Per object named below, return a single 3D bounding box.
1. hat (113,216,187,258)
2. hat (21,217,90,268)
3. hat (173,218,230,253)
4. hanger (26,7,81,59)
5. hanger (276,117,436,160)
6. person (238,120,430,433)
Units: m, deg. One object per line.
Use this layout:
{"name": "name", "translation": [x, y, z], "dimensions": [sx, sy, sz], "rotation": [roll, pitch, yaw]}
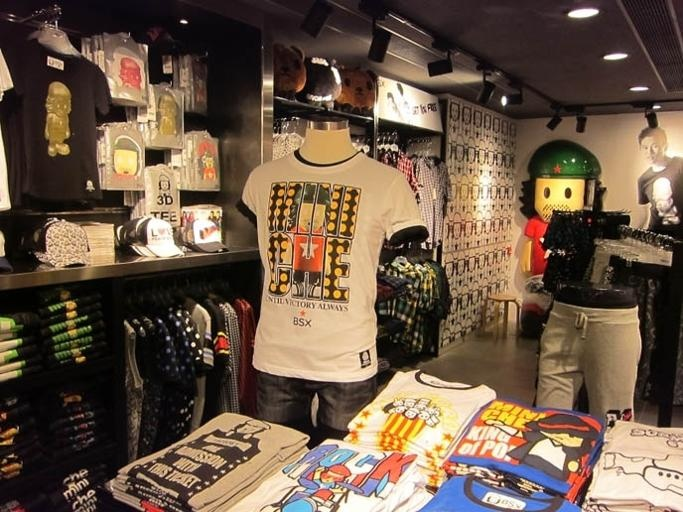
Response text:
{"name": "hat", "translation": [-1.066, -0.112, 2.613], "dimensions": [0.328, 0.158, 0.208], "rotation": [7, 7, 33]}
{"name": "hat", "translation": [-1.389, -0.101, 2.251], "dimensions": [0.319, 0.180, 0.202], "rotation": [18, 22, 38]}
{"name": "hat", "translation": [-0.844, -0.124, 2.852], "dimensions": [0.274, 0.142, 0.179], "rotation": [7, 8, 40]}
{"name": "hanger", "translation": [-1.535, -1.193, 2.447], "dimensions": [0.226, 0.322, 0.282], "rotation": [-3, 8, -42]}
{"name": "hanger", "translation": [0.127, -0.904, 3.542], "dimensions": [0.206, 0.312, 1.111], "rotation": [-1, 4, 43]}
{"name": "person", "translation": [-0.072, 0.082, 1.954], "dimensions": [0.801, 1.315, 0.302], "rotation": [3, 6, 10]}
